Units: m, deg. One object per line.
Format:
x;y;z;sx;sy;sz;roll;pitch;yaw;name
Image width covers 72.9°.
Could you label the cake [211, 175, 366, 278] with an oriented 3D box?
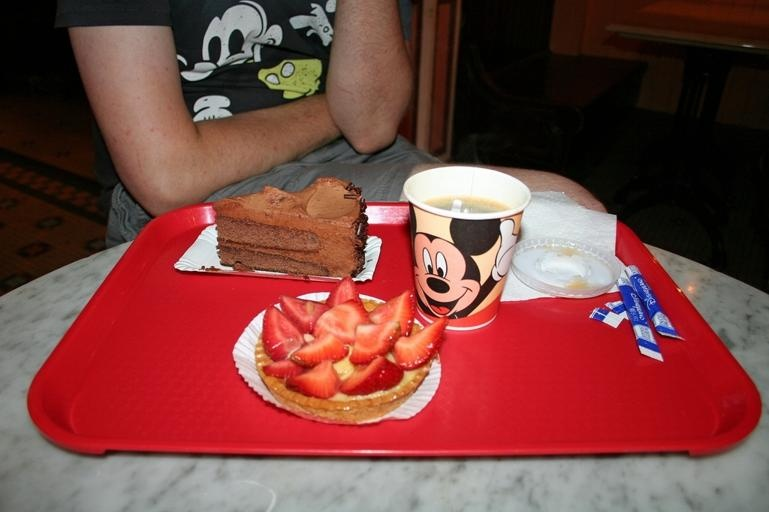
-0.286;-0.095;1.641;0.394;0.221;0.281;3;30;-5;cake
